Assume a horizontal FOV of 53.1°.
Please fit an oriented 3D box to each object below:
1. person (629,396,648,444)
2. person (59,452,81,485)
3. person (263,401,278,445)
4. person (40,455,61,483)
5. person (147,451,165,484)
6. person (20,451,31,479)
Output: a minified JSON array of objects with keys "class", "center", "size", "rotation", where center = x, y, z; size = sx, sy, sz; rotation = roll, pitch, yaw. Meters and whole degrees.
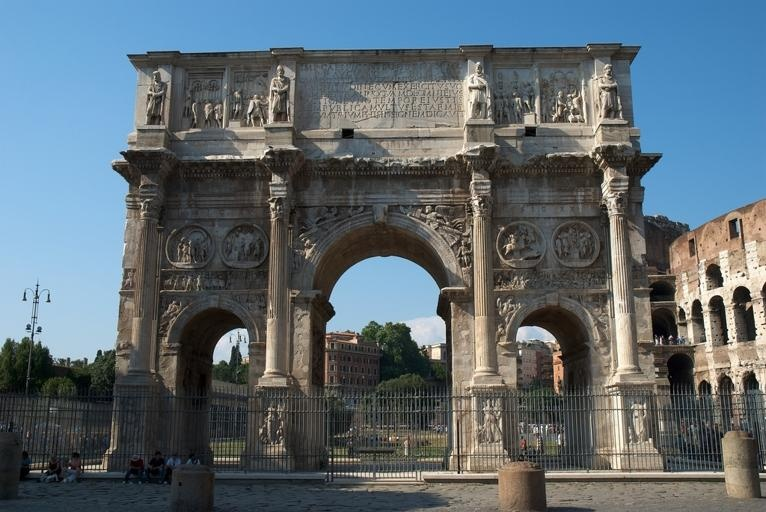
[{"class":"person","center":[11.084,7.356,33.120],"size":[0.735,1.443,0.177],"rotation":[-3,-13,12]},{"class":"person","center":[-12.789,8.664,31.533],"size":[0.619,1.175,1.054],"rotation":[2,-13,-8]},{"class":"person","center":[-4.858,7.514,33.390],"size":[0.528,1.330,0.247],"rotation":[2,-13,-9]},{"class":"person","center":[-13.433,8.859,31.327],"size":[0.716,1.037,1.035],"rotation":[1,-31,-9]},{"class":"person","center":[-9.336,8.672,31.602],"size":[0.802,1.246,0.511],"rotation":[1,-13,-4]},{"class":"person","center":[-14.723,8.614,31.613],"size":[0.269,1.138,1.290],"rotation":[5,-14,-21]}]
